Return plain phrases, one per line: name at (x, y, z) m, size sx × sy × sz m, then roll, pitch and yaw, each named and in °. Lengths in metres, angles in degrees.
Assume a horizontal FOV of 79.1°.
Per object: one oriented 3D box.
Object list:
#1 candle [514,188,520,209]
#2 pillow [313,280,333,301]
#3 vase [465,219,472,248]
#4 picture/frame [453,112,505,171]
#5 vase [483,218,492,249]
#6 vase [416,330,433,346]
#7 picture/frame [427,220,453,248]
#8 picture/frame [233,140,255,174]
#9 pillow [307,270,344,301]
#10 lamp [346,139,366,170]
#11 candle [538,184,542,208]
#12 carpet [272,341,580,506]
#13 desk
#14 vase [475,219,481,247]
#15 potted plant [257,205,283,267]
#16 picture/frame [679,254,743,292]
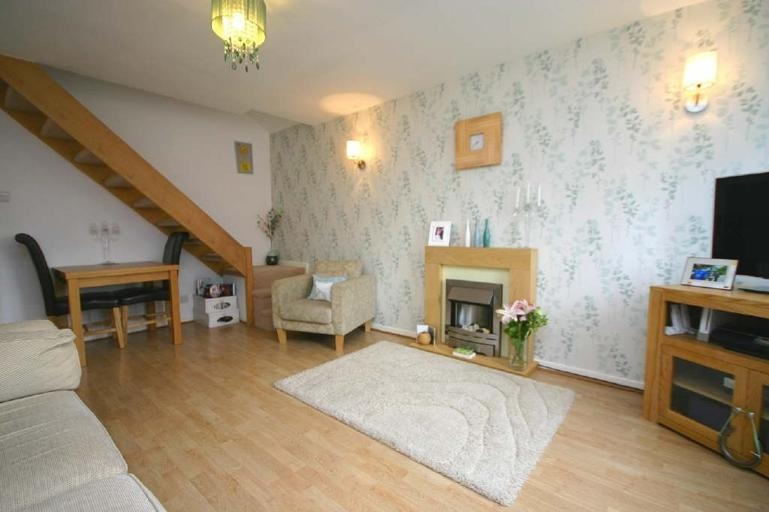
candle at (1.349, -0.595, 4.717) m, size 0.062 × 0.213 × 0.032 m, roll -1°, pitch 3°, yaw 19°
pillow at (-0.735, 0.412, 5.510) m, size 0.241 × 0.220 × 0.073 m, roll 0°, pitch -7°, yaw 22°
vase at (0.900, -0.251, 4.991) m, size 0.062 × 0.295 × 0.112 m, roll -1°, pitch 3°, yaw 9°
picture/frame at (1.017, -1.207, 4.877) m, size 0.675 × 0.673 × 0.075 m, roll 1°, pitch 1°, yaw 37°
vase at (1.068, -0.246, 4.891) m, size 0.089 × 0.289 × 0.067 m, roll -1°, pitch 3°, yaw 18°
vase at (0.448, 0.926, 5.241) m, size 0.157 × 0.122 × 0.154 m, roll -3°, pitch 6°, yaw -32°
picture/frame at (0.633, -0.242, 5.175) m, size 0.333 × 0.372 × 0.015 m, roll -1°, pitch -6°, yaw 43°
picture/frame at (-2.011, -1.411, 6.679) m, size 0.049 × 0.451 × 0.311 m, roll 0°, pitch 3°, yaw 33°
pillow at (-0.711, 0.347, 5.560) m, size 0.366 × 0.341 × 0.113 m, roll 3°, pitch -21°, yaw 29°
lamp at (-0.410, -1.258, 5.827) m, size 0.208 × 0.364 × 0.333 m, roll -4°, pitch 3°, yaw -43°
candle at (1.539, -0.601, 4.612) m, size 0.041 × 0.202 × 0.018 m, roll -2°, pitch 3°, yaw -2°
carpet at (0.438, 1.406, 4.277) m, size 2.190 × 0.761 × 1.487 m, roll -1°, pitch 1°, yaw 35°
desk at (-3.121, 0.600, 5.426) m, size 1.150 × 1.106 × 1.143 m, roll -3°, pitch 6°, yaw -40°
vase at (1.000, -0.249, 4.953) m, size 0.067 × 0.275 × 0.035 m, roll 0°, pitch 3°, yaw 24°
potted plant at (-1.694, -0.307, 6.905) m, size 0.297 × 0.862 × 0.246 m, roll 0°, pitch 3°, yaw 37°
picture/frame at (2.689, 0.144, 3.800) m, size 0.036 × 0.258 × 0.330 m, roll 33°, pitch -24°, yaw -37°
